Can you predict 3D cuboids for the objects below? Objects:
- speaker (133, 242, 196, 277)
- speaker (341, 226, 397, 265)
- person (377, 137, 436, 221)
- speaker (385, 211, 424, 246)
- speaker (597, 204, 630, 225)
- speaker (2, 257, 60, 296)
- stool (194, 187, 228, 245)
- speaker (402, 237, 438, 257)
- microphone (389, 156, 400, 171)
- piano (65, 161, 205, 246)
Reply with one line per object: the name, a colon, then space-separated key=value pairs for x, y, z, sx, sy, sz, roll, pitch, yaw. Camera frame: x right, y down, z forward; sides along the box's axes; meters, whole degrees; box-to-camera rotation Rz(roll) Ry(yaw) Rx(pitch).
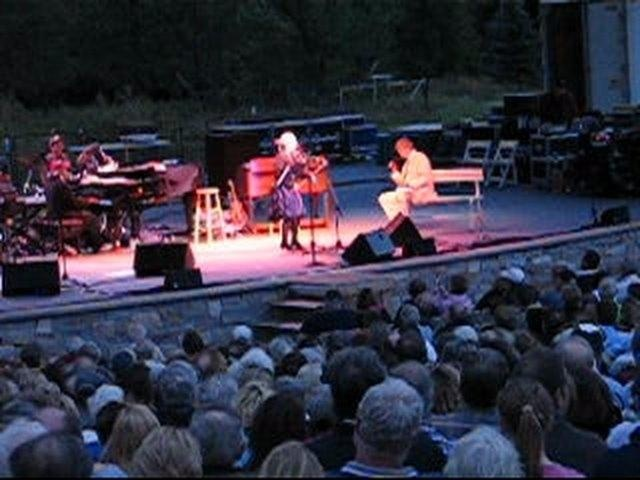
speaker: x=-1.759 y=0.185 z=10.091 sx=0.636 sy=0.392 sz=0.509 roll=6 pitch=18 yaw=18
speaker: x=0.605 y=0.122 z=10.613 sx=0.575 sy=0.304 sz=0.424 roll=-24 pitch=1 yaw=-30
person: x=1.217 y=-0.854 z=11.918 sx=0.671 sy=1.038 sz=0.518 roll=-1 pitch=4 yaw=36
speaker: x=1.048 y=-0.109 z=11.009 sx=0.396 sy=0.406 sz=0.265 roll=-33 pitch=5 yaw=3
speaker: x=4.130 y=-0.336 z=12.253 sx=0.651 sy=0.237 sz=0.321 roll=-6 pitch=4 yaw=-29
speaker: x=-3.200 y=0.428 z=9.676 sx=0.639 sy=0.402 sz=0.459 roll=-2 pitch=13 yaw=-8
stool: x=-1.570 y=-0.330 z=12.443 sx=0.482 sy=0.823 sz=0.489 roll=-4 pitch=4 yaw=-18
speaker: x=1.248 y=0.093 z=10.878 sx=0.270 sy=0.190 sz=0.272 roll=-5 pitch=6 yaw=-29
microphone: x=1.050 y=-1.046 z=12.090 sx=0.144 sy=0.241 sz=0.223 roll=-2 pitch=6 yaw=-22
piano: x=-2.620 y=-0.730 z=11.596 sx=2.442 sy=1.482 sz=0.646 roll=-1 pitch=1 yaw=-30
